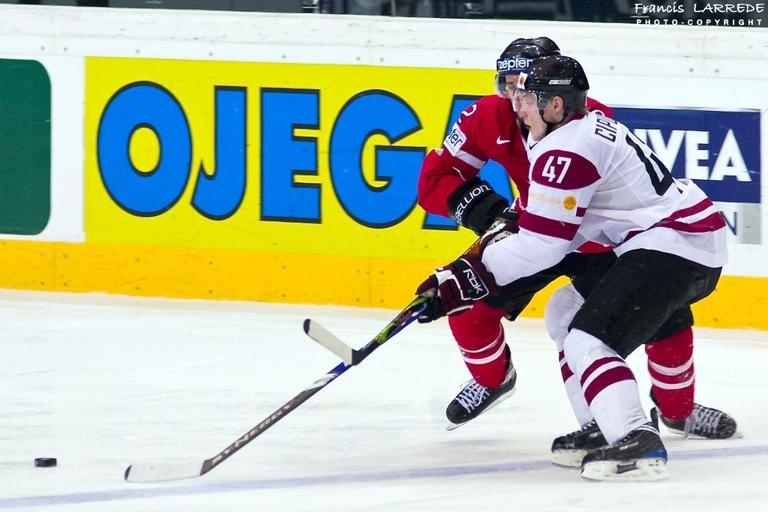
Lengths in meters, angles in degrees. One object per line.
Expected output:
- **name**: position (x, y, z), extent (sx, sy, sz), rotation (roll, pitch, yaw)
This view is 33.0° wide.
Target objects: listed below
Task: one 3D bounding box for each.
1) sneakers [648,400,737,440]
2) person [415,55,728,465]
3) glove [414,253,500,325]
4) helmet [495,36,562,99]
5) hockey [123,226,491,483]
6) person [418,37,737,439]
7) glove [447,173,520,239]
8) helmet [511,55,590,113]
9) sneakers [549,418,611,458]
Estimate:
- **sneakers**: position (1.539, 0.819, 6.396), extent (0.479, 0.149, 0.181), rotation (6, -3, 18)
- **person**: position (0.936, 0.011, 5.999), extent (1.227, 1.836, 0.455), rotation (10, -7, -14)
- **glove**: position (0.322, 0.147, 5.989), extent (0.423, 0.236, 0.135), rotation (-30, -21, 18)
- **helmet**: position (0.710, -0.916, 6.205), extent (0.271, 0.263, 0.325), rotation (2, 11, 35)
- **hockey**: position (-0.350, 0.551, 7.017), extent (1.769, 0.438, 0.190), rotation (-32, 37, 2)
- **person**: position (0.992, -0.012, 6.244), extent (1.200, 1.917, 1.621), rotation (-9, 19, -34)
- **glove**: position (0.466, -0.241, 6.327), extent (0.353, 0.246, 0.147), rotation (28, 44, -16)
- **helmet**: position (0.757, -0.812, 6.013), extent (0.364, 0.249, 0.270), rotation (-1, 23, -15)
- **sneakers**: position (0.967, 0.853, 6.075), extent (0.371, 0.140, 0.121), rotation (-12, -2, 28)
